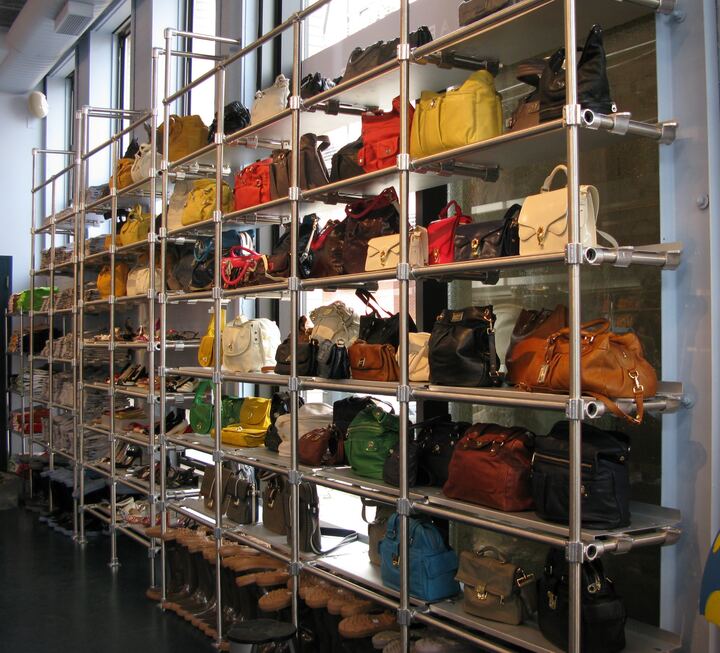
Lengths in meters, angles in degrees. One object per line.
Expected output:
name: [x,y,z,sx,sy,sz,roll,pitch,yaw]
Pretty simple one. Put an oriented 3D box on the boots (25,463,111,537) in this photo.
boots: [-2.836,1.575,6.650,0.691,0.279,0.868,2,3,-35]
